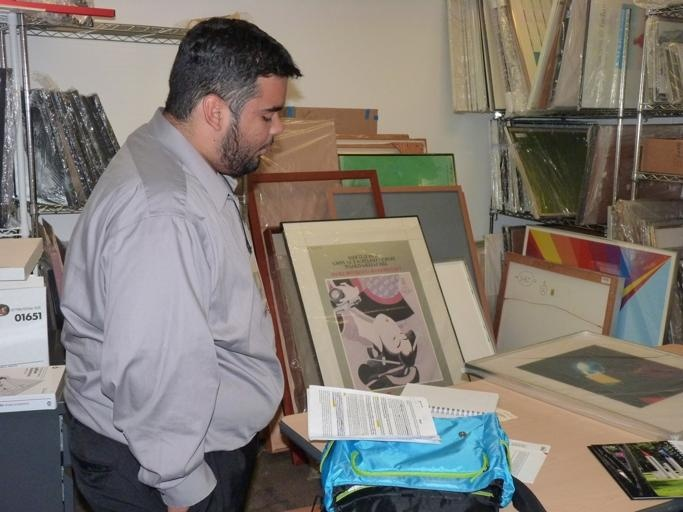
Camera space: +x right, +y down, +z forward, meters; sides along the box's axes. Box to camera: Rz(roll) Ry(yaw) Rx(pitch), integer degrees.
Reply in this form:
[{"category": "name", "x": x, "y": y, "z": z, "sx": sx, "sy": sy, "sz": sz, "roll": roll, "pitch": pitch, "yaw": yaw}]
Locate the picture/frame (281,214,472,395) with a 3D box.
[{"category": "picture/frame", "x": 0.141, "y": 0.258, "z": 2.755, "sx": 0.840, "sy": 1.157, "sz": 0.050, "roll": -7, "pitch": -20, "yaw": -27}]
